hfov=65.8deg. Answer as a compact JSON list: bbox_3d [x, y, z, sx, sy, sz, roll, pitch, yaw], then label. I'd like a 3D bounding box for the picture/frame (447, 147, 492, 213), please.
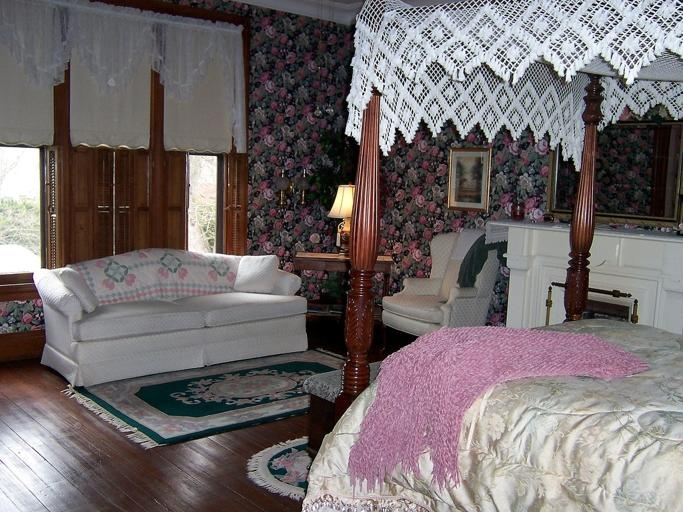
[{"bbox_3d":[1.562,-0.916,6.226,0.067,0.902,0.763,-3,6,-42],"label":"picture/frame"}]

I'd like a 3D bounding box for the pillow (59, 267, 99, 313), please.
[{"bbox_3d":[-2.393,0.304,4.809,0.413,0.365,0.288,10,13,43],"label":"pillow"}]

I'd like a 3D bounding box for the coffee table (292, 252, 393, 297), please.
[{"bbox_3d":[-0.031,0.177,5.366,0.585,0.481,0.203,1,5,2],"label":"coffee table"}]

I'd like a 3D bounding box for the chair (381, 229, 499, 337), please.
[{"bbox_3d":[1.152,0.320,5.830,1.162,1.251,0.991,-5,9,-22],"label":"chair"}]

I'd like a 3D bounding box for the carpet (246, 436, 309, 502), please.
[{"bbox_3d":[-0.398,1.301,3.421,0.421,0.137,0.759,1,9,-5],"label":"carpet"}]
